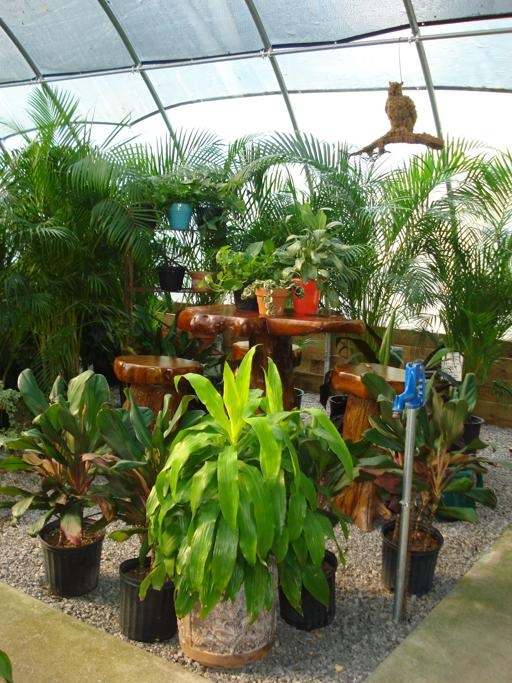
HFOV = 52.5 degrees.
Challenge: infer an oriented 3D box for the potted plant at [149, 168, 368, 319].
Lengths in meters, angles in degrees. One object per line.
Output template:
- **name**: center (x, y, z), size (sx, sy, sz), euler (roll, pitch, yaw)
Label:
- **potted plant**: center (0.018, -0.633, 3.061), size (1.153, 0.523, 1.115), euler (3, 8, -12)

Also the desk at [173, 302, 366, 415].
- **desk**: center (0.080, -0.067, 2.446), size (0.651, 0.442, 0.659), euler (6, 17, 21)
